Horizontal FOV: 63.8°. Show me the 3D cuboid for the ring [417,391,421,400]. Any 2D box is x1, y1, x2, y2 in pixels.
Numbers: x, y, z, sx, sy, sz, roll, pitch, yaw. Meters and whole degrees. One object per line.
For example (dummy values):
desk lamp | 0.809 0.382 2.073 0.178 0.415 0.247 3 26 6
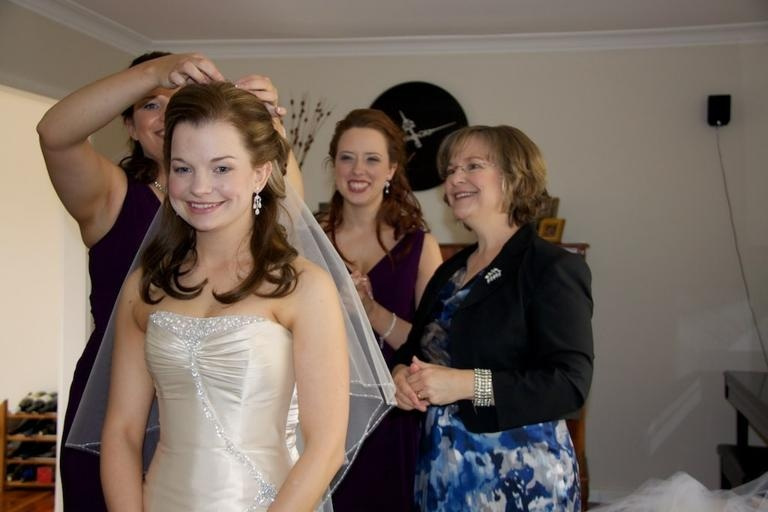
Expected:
ring | 0.147 0.596 2.634 0.011 0.023 0.017 -29 4 2
